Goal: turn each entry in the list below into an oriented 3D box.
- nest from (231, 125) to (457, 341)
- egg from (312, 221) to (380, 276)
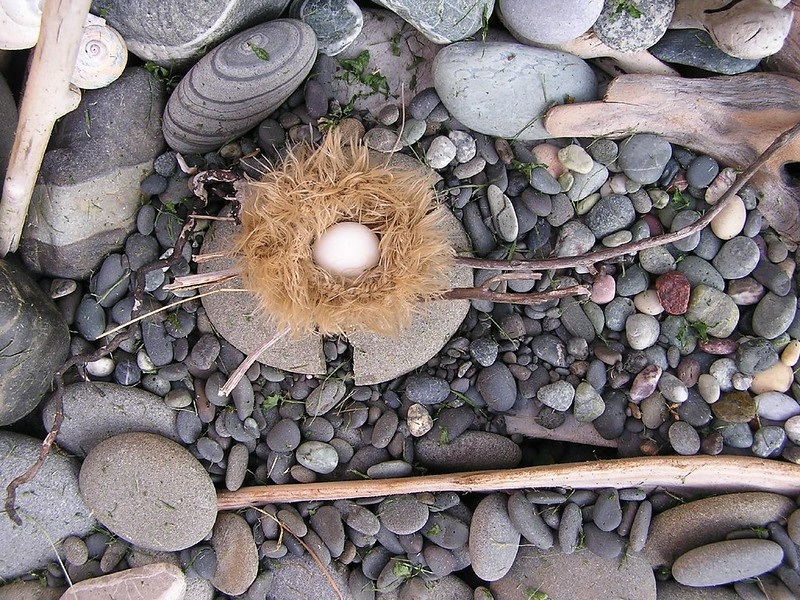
[{"bbox_3d":[-0.144,-0.086,1.983,0.582,0.235,0.622,-3,-15,-12],"label":"nest"},{"bbox_3d":[-0.135,-0.133,1.829,0.152,0.136,0.139,-15,-55,-8],"label":"egg"}]
